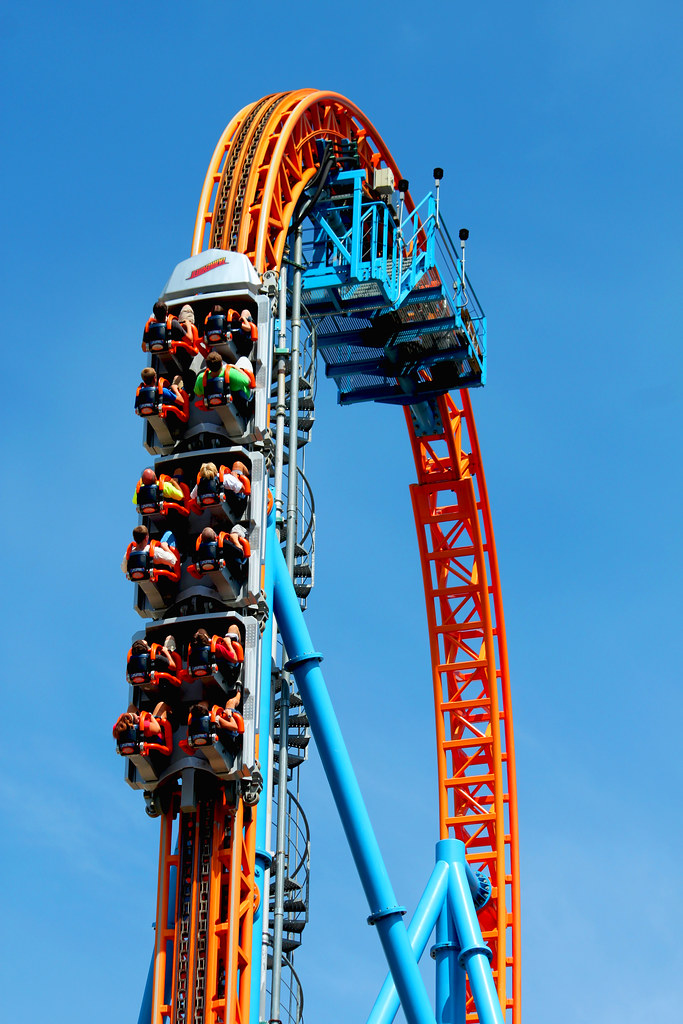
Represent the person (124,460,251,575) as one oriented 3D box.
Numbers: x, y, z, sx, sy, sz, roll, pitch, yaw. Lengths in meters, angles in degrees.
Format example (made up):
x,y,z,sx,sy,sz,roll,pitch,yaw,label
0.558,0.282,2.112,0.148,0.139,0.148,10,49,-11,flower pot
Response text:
x,y,z,sx,sy,sz,roll,pitch,yaw,label
-1.540,0.105,31.205,0.874,1.068,1.475,-3,-89,27,person
